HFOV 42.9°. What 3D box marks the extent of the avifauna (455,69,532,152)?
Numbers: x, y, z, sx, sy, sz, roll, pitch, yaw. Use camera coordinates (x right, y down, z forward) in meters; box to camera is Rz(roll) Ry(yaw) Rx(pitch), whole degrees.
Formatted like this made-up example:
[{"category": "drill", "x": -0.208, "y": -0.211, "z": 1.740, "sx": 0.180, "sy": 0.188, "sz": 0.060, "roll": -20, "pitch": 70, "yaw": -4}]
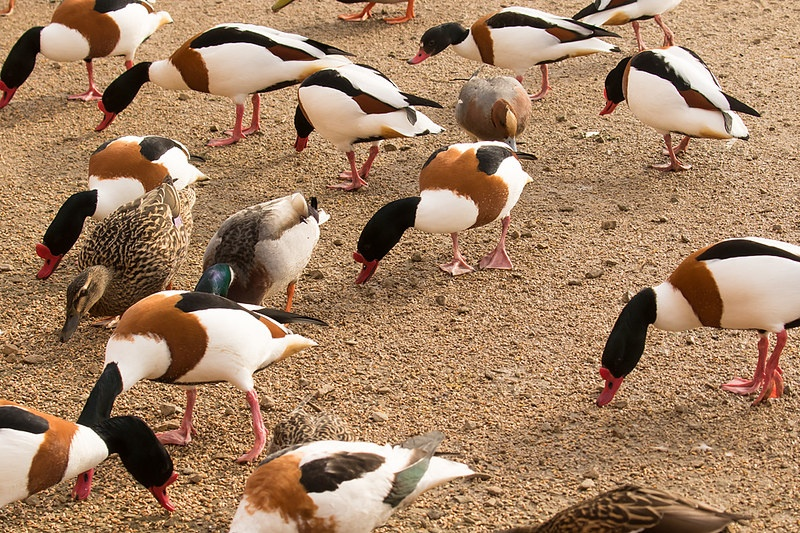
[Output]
[{"category": "avifauna", "x": 0.879, "y": -1.424, "z": 9.458, "sx": 0.576, "sy": 0.615, "sz": 0.846, "roll": -21, "pitch": 58, "yaw": 2}]
